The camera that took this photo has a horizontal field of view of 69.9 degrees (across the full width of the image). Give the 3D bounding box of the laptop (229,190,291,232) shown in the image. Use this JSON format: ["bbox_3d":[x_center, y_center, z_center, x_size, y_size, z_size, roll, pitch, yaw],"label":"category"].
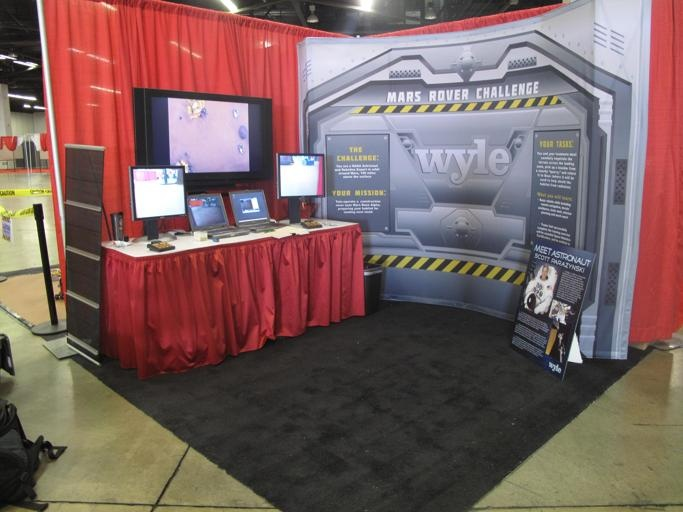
[{"bbox_3d":[-0.753,-0.412,4.406,0.422,0.314,0.415,15,19,40],"label":"laptop"}]

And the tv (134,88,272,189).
[{"bbox_3d":[-1.297,-1.083,4.437,0.979,0.702,0.094,-12,19,-35],"label":"tv"}]

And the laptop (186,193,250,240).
[{"bbox_3d":[-1.052,-0.355,4.157,0.418,0.305,0.398,13,15,34],"label":"laptop"}]

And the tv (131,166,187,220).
[{"bbox_3d":[-1.457,-0.510,3.851,0.391,0.364,0.033,-7,9,-42],"label":"tv"}]
